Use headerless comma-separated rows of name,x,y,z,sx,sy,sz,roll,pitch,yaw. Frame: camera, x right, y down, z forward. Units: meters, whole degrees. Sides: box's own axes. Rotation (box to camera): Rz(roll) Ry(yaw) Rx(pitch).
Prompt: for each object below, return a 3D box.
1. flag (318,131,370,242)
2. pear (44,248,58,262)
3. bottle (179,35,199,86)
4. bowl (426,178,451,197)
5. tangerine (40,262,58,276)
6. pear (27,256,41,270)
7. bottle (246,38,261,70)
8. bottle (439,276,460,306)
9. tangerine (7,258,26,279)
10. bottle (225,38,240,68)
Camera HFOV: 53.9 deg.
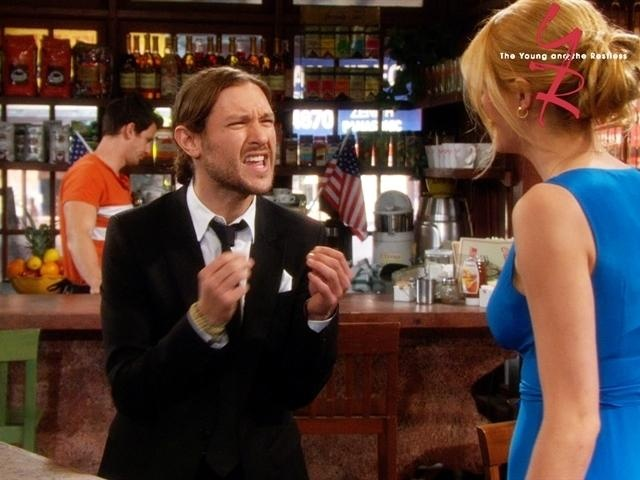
flag,0.167,-0.398,4.333,0.352,0.856,0.053,2,-28,2
pear,-1.690,0.096,3.973,0.083,0.069,0.066,-12,-16,15
bottle,-0.903,-1.226,4.329,0.102,0.346,0.090,4,12,-1
bowl,0.790,-0.356,4.183,0.126,0.059,0.130,-1,-1,0
tangerine,-1.649,0.182,3.828,0.081,0.082,0.082,-5,-19,-1
pear,-1.766,0.142,3.902,0.079,0.083,0.081,-30,21,-20
bottle,-0.460,-1.280,4.398,0.091,0.236,0.250,0,4,-6
bottle,0.582,0.231,2.818,0.100,0.145,0.102,0,0,0
tangerine,-1.882,0.175,3.898,0.110,0.106,0.112,2,-7,7
bottle,-0.605,-1.299,4.365,0.090,0.235,0.256,0,4,-9
